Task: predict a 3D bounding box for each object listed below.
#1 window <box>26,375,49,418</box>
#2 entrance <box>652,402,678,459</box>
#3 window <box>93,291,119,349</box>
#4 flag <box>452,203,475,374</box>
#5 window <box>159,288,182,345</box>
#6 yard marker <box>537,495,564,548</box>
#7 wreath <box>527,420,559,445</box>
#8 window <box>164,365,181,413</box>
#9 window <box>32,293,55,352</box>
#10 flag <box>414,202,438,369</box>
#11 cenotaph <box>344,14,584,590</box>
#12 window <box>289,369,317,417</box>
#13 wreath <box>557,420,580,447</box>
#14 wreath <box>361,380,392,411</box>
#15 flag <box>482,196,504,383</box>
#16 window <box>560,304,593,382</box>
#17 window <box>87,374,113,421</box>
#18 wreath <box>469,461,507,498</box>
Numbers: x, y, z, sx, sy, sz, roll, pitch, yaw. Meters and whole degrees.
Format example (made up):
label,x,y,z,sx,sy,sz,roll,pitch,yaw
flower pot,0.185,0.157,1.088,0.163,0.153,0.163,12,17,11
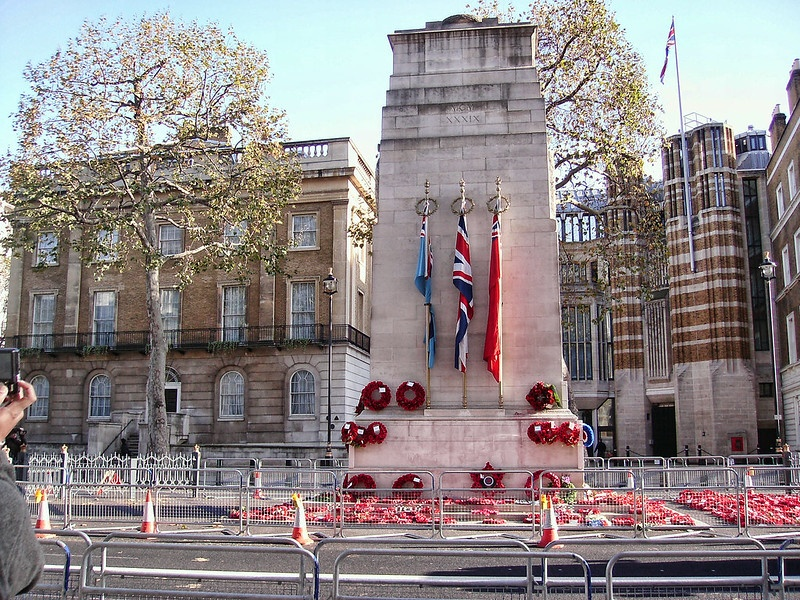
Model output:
label,x,y,z,sx,sy,sz,roll,pitch,yaw
window,-19.222,5.116,52.792,0.881,2.358,1.309,7,-14,-39
entrance,16.610,8.277,62.257,1.416,3.734,0.441,-1,-40,13
window,-15.693,0.949,52.935,1.269,3.233,0.282,2,23,-11
flag,2.046,-0.326,30.683,0.811,5.697,0.651,-1,-1,-24
window,-11.917,0.834,51.752,1.291,2.993,0.600,-6,-12,23
yard marker,3.326,4.881,22.097,0.594,0.989,0.579,-1,-2,11
wreath,4.237,3.867,29.320,0.727,0.308,0.621,0,3,-38
window,-11.587,4.561,50.856,1.024,2.259,0.291,-10,-13,35
window,-19.243,1.051,53.718,1.436,2.936,0.562,-7,-12,23
flag,0.818,-0.434,30.808,0.501,5.041,0.769,-4,-11,10
cenotaph,2.191,-1.477,31.974,7.337,15.736,4.853,0,6,10
window,-4.728,4.521,48.987,1.271,2.259,0.125,-2,-4,14
wreath,4.993,3.884,29.218,0.655,0.657,0.342,7,1,18
wreath,-0.692,2.904,30.791,0.845,0.877,0.340,3,-1,0
flag,2.811,-0.187,30.197,0.536,5.423,0.736,6,16,26
window,11.810,2.824,65.889,2.229,5.873,0.533,-1,-28,8
window,-15.596,4.980,51.890,1.300,2.357,0.315,-6,-12,19
wreath,2.557,5.122,28.417,0.806,0.837,0.143,2,-16,1
